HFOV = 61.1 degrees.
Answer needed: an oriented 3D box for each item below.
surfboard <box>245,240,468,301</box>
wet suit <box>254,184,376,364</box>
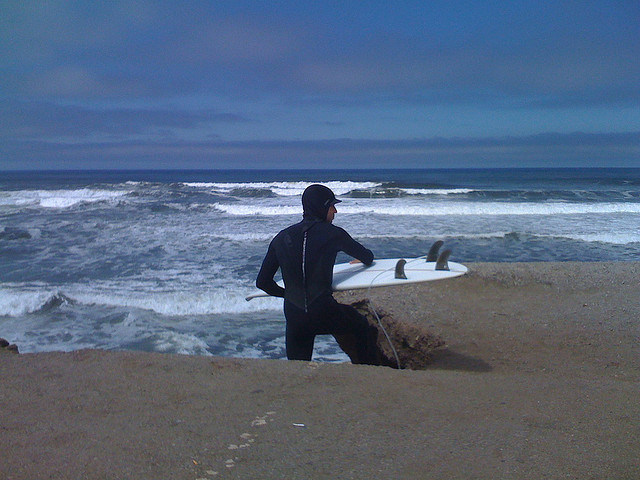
[{"bbox_3d":[0.818,0.361,5.979,2.172,0.274,0.990,-4,1,-8],"label":"surfboard"},{"bbox_3d":[-0.052,0.412,5.434,1.145,1.906,0.463,-1,10,-6],"label":"wet suit"}]
